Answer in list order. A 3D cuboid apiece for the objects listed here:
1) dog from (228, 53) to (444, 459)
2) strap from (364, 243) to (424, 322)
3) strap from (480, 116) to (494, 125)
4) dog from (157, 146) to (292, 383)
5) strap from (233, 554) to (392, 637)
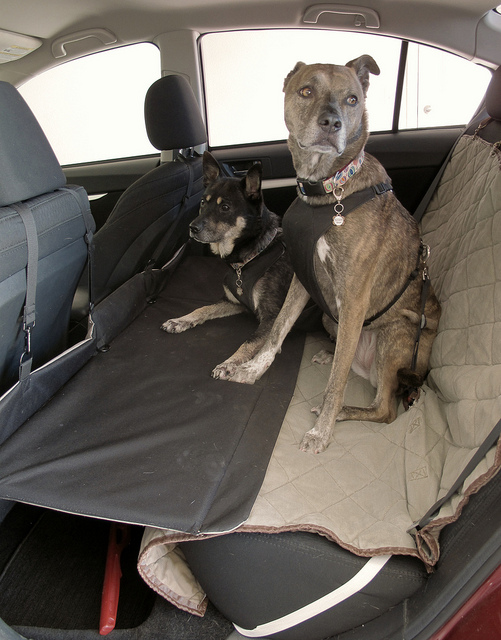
[{"bbox_3d":[0.423,-0.347,2.165,0.859,1.482,0.635,-18,30,-29],"label":"dog"},{"bbox_3d":[0.614,-0.196,2.209,0.070,0.349,0.236,31,11,15],"label":"strap"},{"bbox_3d":[1.229,-1.036,2.483,0.069,0.023,0.036,-39,37,0],"label":"strap"},{"bbox_3d":[0.064,-0.499,2.939,0.547,1.048,1.413,14,27,30],"label":"dog"},{"bbox_3d":[0.182,0.778,1.355,0.372,0.068,0.238,-40,-9,16],"label":"strap"}]
